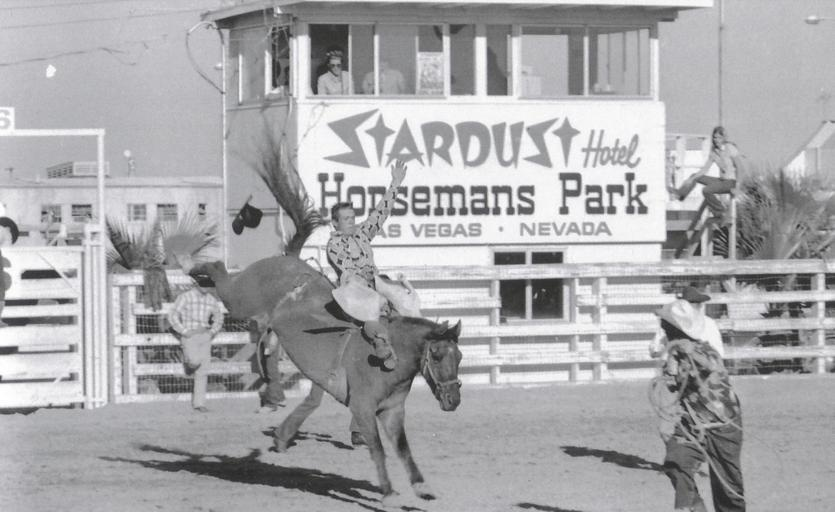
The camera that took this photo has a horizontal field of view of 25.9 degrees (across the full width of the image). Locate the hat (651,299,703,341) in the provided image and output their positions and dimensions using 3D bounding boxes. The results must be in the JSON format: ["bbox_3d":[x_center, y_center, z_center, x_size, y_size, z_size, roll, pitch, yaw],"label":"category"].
[{"bbox_3d":[4.098,0.945,28.445,0.621,0.314,0.790,5,26,-45],"label":"hat"}]

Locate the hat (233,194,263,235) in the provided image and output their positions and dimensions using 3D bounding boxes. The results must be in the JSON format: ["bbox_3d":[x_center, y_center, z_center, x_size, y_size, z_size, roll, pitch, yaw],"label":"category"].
[{"bbox_3d":[-3.422,-0.774,36.151,0.598,0.762,0.283,19,25,-15],"label":"hat"}]

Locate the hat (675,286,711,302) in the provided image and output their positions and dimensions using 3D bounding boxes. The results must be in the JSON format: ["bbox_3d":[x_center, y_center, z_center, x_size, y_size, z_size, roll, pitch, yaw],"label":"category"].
[{"bbox_3d":[4.411,0.611,28.377,0.542,0.195,0.322,9,-8,-18],"label":"hat"}]

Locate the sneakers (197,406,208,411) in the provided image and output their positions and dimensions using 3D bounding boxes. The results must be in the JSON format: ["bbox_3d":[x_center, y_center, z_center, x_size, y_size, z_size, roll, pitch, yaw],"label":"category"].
[{"bbox_3d":[-3.873,2.725,32.371,0.122,0.036,0.097,0,4,-44],"label":"sneakers"}]
